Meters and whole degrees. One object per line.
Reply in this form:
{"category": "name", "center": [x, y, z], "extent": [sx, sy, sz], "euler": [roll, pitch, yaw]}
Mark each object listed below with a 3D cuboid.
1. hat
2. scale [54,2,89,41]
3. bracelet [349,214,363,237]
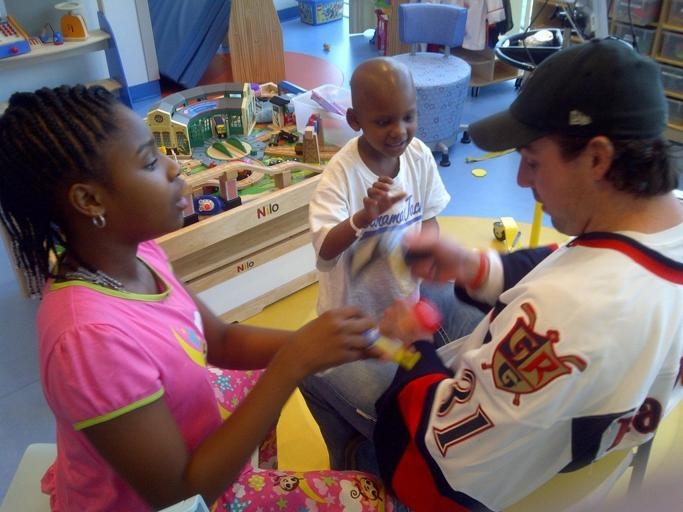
{"category": "hat", "center": [0.553, -0.403, 1.146], "extent": [0.431, 0.218, 0.290], "euler": [6, 29, 25]}
{"category": "scale", "center": [-2.384, -2.053, 4.118], "extent": [0.215, 0.294, 0.207], "euler": [-14, 30, -17]}
{"category": "bracelet", "center": [0.052, -0.102, 1.609], "extent": [0.034, 0.063, 0.058], "euler": [-20, -13, 27]}
